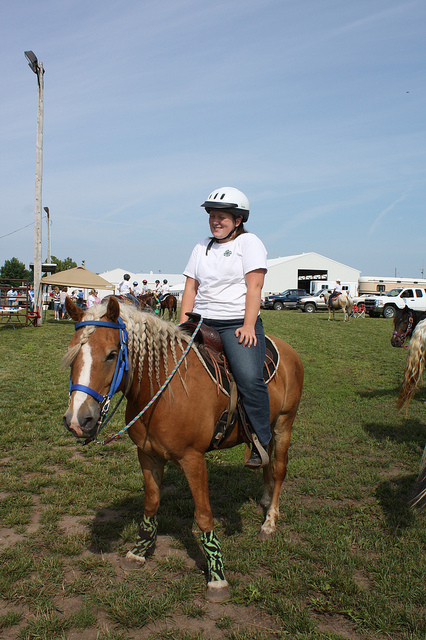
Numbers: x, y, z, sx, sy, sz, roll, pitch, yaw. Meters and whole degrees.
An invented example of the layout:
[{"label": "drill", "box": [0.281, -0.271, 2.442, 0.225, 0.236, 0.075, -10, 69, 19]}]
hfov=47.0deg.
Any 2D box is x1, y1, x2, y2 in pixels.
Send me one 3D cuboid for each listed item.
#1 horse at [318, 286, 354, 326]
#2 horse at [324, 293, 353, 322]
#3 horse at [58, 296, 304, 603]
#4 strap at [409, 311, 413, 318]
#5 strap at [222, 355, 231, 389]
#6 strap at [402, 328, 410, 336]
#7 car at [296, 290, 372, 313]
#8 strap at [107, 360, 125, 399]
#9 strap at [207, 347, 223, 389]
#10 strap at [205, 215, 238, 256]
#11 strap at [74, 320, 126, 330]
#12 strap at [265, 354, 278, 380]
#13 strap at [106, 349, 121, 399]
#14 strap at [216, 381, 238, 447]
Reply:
[{"label": "horse", "box": [7.010, -0.838, 27.840, 0.737, 1.715, 2.468, 2, 0, -28]}, {"label": "horse", "box": [7.072, -0.739, 27.613, 1.330, 1.440, 4.336, 2, 6, 14]}, {"label": "horse", "box": [-0.037, 0.872, 3.549, 0.840, 1.863, 2.424, 1, -2, 43]}, {"label": "strap", "box": [4.402, -0.128, 10.965, 0.069, 0.131, 0.100, 0, 6, 0]}, {"label": "strap", "box": [0.091, 0.345, 3.356, 0.022, 0.165, 0.018, -28, -16, 39]}, {"label": "strap", "box": [4.301, 0.262, 10.972, 0.044, 0.171, 0.046, 24, 13, -43]}, {"label": "car", "box": [8.204, -1.247, 34.808, 3.829, 1.528, 1.877, 1, 1, -5]}, {"label": "strap", "box": [-0.551, 0.323, 2.860, 0.032, 0.127, 0.092, 20, -7, -40]}, {"label": "strap", "box": [0.014, 0.326, 3.321, 0.043, 0.301, 0.034, -17, -30, 4]}, {"label": "strap", "box": [0.057, -0.624, 3.577, 0.229, 0.237, 0.058, 11, 8, 43]}, {"label": "strap", "box": [-0.660, 0.025, 2.890, 0.296, 0.061, 0.138, -1, 6, -14]}, {"label": "strap", "box": [0.445, 0.358, 3.772, 0.025, 0.351, 0.106, 27, 57, 32]}, {"label": "strap", "box": [-0.562, 0.314, 2.810, 0.036, 0.273, 0.037, 18, -2, -22]}, {"label": "strap", "box": [0.129, 0.597, 3.352, 0.073, 0.559, 0.074, 19, 13, 15]}]
